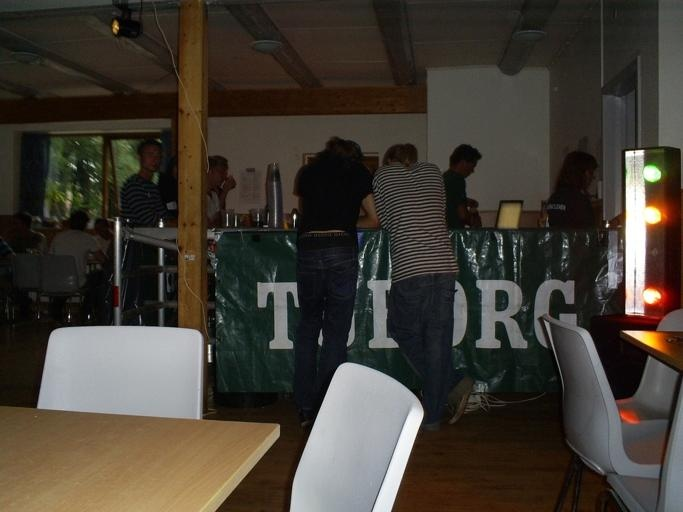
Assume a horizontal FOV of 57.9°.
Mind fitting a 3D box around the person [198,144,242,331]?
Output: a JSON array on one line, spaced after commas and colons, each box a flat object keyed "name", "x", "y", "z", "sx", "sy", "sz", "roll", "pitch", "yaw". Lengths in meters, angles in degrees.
[{"name": "person", "x": -1.226, "y": -0.365, "z": 6.004, "sx": 0.314, "sy": 1.306, "sz": 0.375, "roll": 12, "pitch": 30, "yaw": 1}]

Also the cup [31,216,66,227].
[{"name": "cup", "x": -4.785, "y": -0.557, "z": 10.096, "sx": 0.333, "sy": 0.140, "sz": 0.252, "roll": 9, "pitch": -5, "yaw": -31}]

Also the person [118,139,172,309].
[{"name": "person", "x": -1.721, "y": -0.155, "z": 5.474, "sx": 0.422, "sy": 1.755, "sz": 0.418, "roll": 11, "pitch": 14, "yaw": 26}]

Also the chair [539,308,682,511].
[{"name": "chair", "x": 1.285, "y": 0.736, "z": 2.786, "sx": 0.654, "sy": 0.938, "sz": 0.457, "roll": -4, "pitch": 8, "yaw": -19}]

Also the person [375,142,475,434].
[{"name": "person", "x": 0.474, "y": 0.194, "z": 3.994, "sx": 0.534, "sy": 1.831, "sz": 0.356, "roll": 0, "pitch": 7, "yaw": 10}]

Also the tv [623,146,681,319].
[{"name": "tv", "x": 2.032, "y": -0.166, "z": 4.050, "sx": 0.334, "sy": 1.092, "sz": 0.201, "roll": 1, "pitch": 7, "yaw": 12}]

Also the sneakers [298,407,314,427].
[{"name": "sneakers", "x": -0.228, "y": 1.056, "z": 4.124, "sx": 0.112, "sy": 0.141, "sz": 0.090, "roll": -1, "pitch": -5, "yaw": 25}]

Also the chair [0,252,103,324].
[{"name": "chair", "x": -3.281, "y": 0.337, "z": 7.022, "sx": 0.649, "sy": 0.723, "sz": 0.521, "roll": 1, "pitch": 3, "yaw": 6}]

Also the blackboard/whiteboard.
[{"name": "blackboard/whiteboard", "x": 1.837, "y": -1.664, "z": 8.295, "sx": 1.823, "sy": 2.477, "sz": 0.184, "roll": 4, "pitch": -28, "yaw": 10}]

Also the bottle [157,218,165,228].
[{"name": "bottle", "x": -1.402, "y": -0.265, "z": 4.811, "sx": 0.057, "sy": 0.104, "sz": 0.063, "roll": -1, "pitch": -10, "yaw": 0}]

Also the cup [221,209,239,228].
[{"name": "cup", "x": -0.899, "y": -0.302, "z": 5.034, "sx": 0.158, "sy": 0.211, "sz": 0.172, "roll": 0, "pitch": -4, "yaw": 0}]

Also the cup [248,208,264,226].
[{"name": "cup", "x": -0.690, "y": -0.321, "z": 5.054, "sx": 0.120, "sy": 0.233, "sz": 0.210, "roll": -1, "pitch": -5, "yaw": -8}]
